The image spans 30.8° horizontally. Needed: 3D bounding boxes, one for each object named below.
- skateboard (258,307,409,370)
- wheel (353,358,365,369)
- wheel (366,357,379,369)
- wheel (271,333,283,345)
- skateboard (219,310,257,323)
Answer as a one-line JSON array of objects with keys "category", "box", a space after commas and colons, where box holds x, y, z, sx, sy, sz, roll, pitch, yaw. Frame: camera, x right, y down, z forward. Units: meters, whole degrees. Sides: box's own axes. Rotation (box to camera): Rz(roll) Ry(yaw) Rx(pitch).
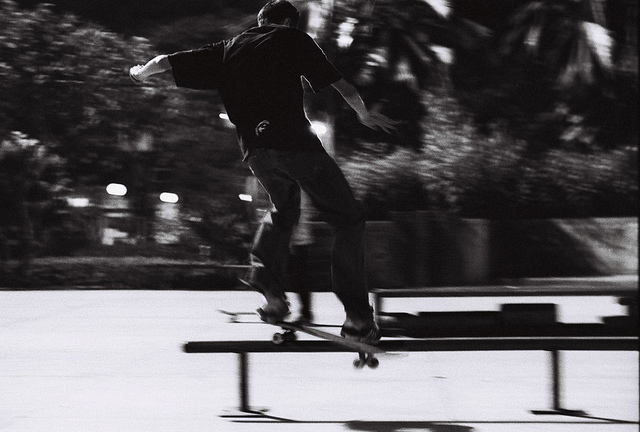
[{"category": "skateboard", "box": [-0.095, 1.341, 12.678, 2.304, 0.282, 0.450, 9, 7, 16]}, {"category": "wheel", "box": [0.399, 1.606, 12.612, 0.132, 0.094, 0.033, 1, -13, 11]}, {"category": "wheel", "box": [0.520, 1.591, 12.578, 0.155, 0.101, 0.101, -1, -1, -9]}, {"category": "wheel", "box": [-0.488, 1.337, 12.579, 0.109, 0.103, 0.050, -1, -33, 4]}, {"category": "skateboard", "box": [-0.931, 1.113, 13.015, 0.361, 0.098, 0.425, -1, 1, -8]}]
